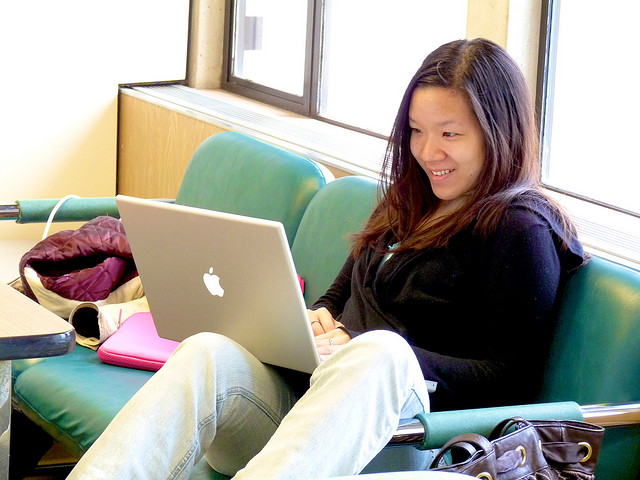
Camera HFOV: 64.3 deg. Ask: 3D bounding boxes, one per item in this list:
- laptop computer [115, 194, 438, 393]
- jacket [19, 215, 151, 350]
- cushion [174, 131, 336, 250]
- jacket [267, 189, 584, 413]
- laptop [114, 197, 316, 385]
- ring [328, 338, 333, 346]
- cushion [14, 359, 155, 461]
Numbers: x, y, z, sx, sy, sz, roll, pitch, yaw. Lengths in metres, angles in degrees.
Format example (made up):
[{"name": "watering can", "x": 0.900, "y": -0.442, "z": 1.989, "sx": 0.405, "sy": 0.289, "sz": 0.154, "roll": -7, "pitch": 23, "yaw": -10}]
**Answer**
[{"name": "laptop computer", "x": -0.103, "y": 0.000, "z": 1.116, "sx": 0.473, "sy": 0.361, "sz": 0.499, "roll": 14, "pitch": 21, "yaw": 42}, {"name": "jacket", "x": -0.745, "y": 0.144, "z": 1.788, "sx": 0.443, "sy": 0.169, "sz": 0.448, "roll": -23, "pitch": 50, "yaw": -37}, {"name": "cushion", "x": -0.201, "y": -0.170, "z": 1.685, "sx": 0.434, "sy": 0.326, "sz": 0.224, "roll": 19, "pitch": 10, "yaw": 41}, {"name": "jacket", "x": 0.267, "y": 0.124, "z": 1.195, "sx": 0.550, "sy": 0.485, "sz": 0.545, "roll": 15, "pitch": -13, "yaw": -37}, {"name": "laptop", "x": -0.201, "y": 0.119, "z": 1.083, "sx": 0.459, "sy": 0.386, "sz": 0.215, "roll": 11, "pitch": 11, "yaw": 26}, {"name": "ring", "x": 0.022, "y": 0.231, "z": 1.153, "sx": 0.010, "sy": 0.011, "sz": 0.011, "roll": 0, "pitch": 2, "yaw": -5}, {"name": "cushion", "x": -0.607, "y": 0.402, "z": 1.335, "sx": 0.308, "sy": 0.098, "sz": 0.327, "roll": 0, "pitch": 14, "yaw": -45}]
